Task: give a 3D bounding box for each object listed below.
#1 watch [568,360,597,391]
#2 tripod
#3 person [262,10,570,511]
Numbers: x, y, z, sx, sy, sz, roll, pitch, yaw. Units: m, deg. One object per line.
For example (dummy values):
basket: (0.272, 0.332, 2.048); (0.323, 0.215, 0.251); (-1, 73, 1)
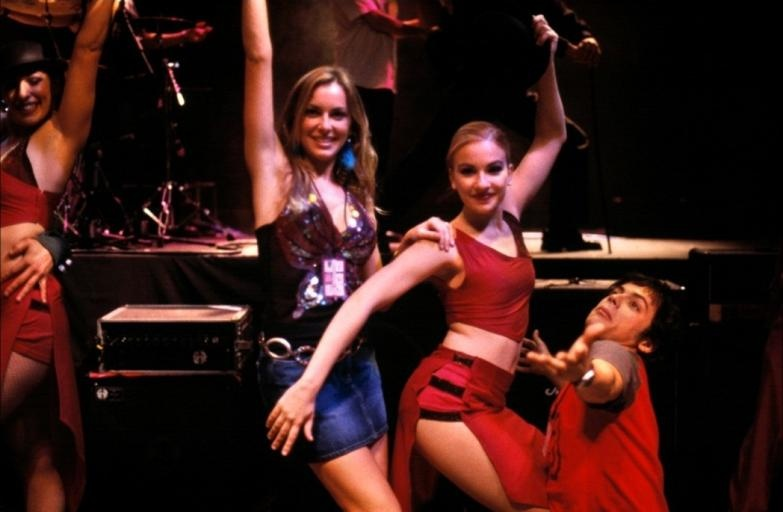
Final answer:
watch: (0.918, 0.575, 3.342); (0.103, 0.114, 0.117); (4, 8, 27)
tripod: (-1.709, -0.710, 4.821); (1.198, 1.129, 1.091); (9, 10, 11)
person: (0.404, 0.013, 3.463); (0.826, 2.653, 1.446); (10, 8, 42)
